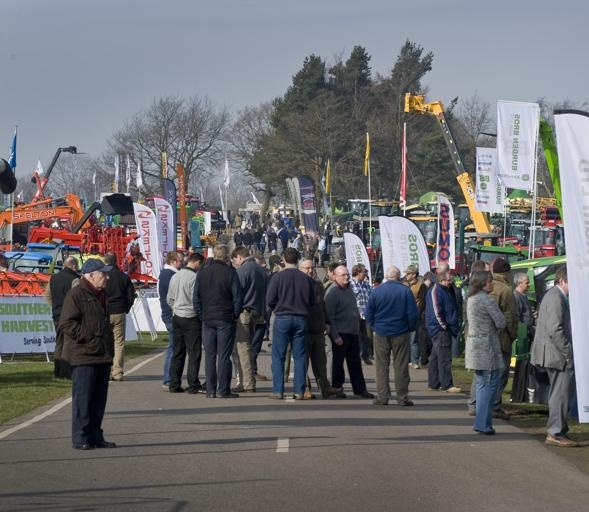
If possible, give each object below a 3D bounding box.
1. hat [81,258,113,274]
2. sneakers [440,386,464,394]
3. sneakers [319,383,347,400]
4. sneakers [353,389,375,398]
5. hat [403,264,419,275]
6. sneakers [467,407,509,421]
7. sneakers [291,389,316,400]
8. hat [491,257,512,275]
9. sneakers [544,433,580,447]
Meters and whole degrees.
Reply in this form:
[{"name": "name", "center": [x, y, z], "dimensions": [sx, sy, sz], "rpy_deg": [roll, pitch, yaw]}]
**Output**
[{"name": "hat", "center": [-2.344, 0.117, 11.501], "dimensions": [0.256, 0.158, 0.192], "rpy_deg": [2, 6, -14]}, {"name": "sneakers", "center": [2.591, 2.160, 15.772], "dimensions": [0.231, 0.102, 0.105], "rpy_deg": [-3, 0, 27]}, {"name": "sneakers", "center": [0.603, 2.074, 14.966], "dimensions": [0.480, 0.230, 0.170], "rpy_deg": [-3, 6, -15]}, {"name": "sneakers", "center": [1.096, 2.125, 15.010], "dimensions": [0.316, 0.142, 0.123], "rpy_deg": [-3, -1, 24]}, {"name": "hat", "center": [2.241, 0.239, 18.302], "dimensions": [0.197, 0.117, 0.146], "rpy_deg": [13, -9, -36]}, {"name": "sneakers", "center": [2.720, 2.163, 13.595], "dimensions": [0.569, 0.273, 0.202], "rpy_deg": [-1, 4, 2]}, {"name": "sneakers", "center": [0.178, 2.079, 14.668], "dimensions": [0.405, 0.193, 0.139], "rpy_deg": [5, -5, -22]}, {"name": "hat", "center": [2.913, 0.168, 13.506], "dimensions": [0.211, 0.204, 0.225], "rpy_deg": [-9, 18, -7]}, {"name": "sneakers", "center": [3.242, 2.194, 11.671], "dimensions": [0.386, 0.196, 0.148], "rpy_deg": [-3, -2, 17]}]
